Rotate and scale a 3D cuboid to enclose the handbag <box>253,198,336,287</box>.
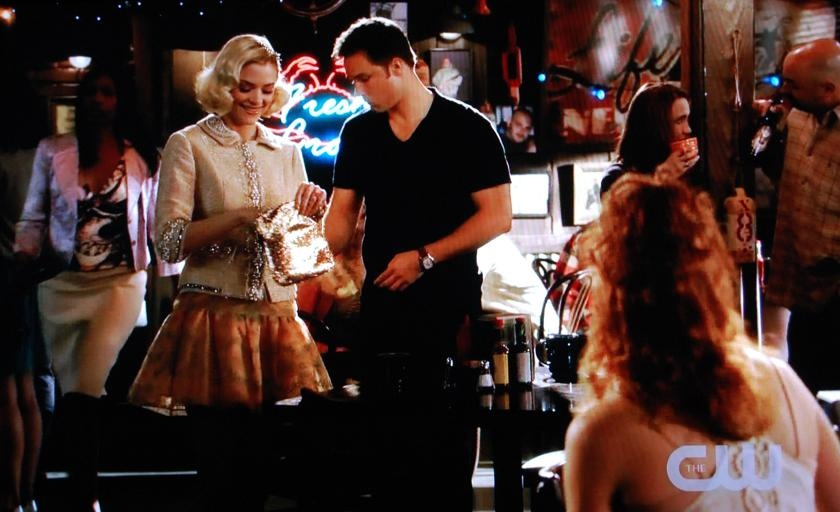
[{"bbox_3d":[-0.576,-0.056,3.616,0.352,0.379,0.141,0,-1,-15],"label":"handbag"}]

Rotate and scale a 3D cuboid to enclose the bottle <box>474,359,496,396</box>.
[{"bbox_3d":[0.296,0.525,3.423,0.106,0.128,0.107,-6,-6,-43],"label":"bottle"}]

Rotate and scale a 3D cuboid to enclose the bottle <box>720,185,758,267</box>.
[{"bbox_3d":[1.617,-0.150,3.956,0.179,0.380,0.135,-1,-1,5],"label":"bottle"}]

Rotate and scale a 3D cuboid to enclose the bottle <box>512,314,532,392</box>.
[{"bbox_3d":[0.456,0.422,3.500,0.096,0.298,0.224,-1,-1,8],"label":"bottle"}]

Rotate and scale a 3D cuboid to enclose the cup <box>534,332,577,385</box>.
[{"bbox_3d":[0.563,0.438,3.433,0.218,0.211,0.135,-1,3,2],"label":"cup"}]

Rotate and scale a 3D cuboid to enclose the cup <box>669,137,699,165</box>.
[{"bbox_3d":[1.337,-0.529,3.985,0.138,0.103,0.140,0,5,0],"label":"cup"}]
